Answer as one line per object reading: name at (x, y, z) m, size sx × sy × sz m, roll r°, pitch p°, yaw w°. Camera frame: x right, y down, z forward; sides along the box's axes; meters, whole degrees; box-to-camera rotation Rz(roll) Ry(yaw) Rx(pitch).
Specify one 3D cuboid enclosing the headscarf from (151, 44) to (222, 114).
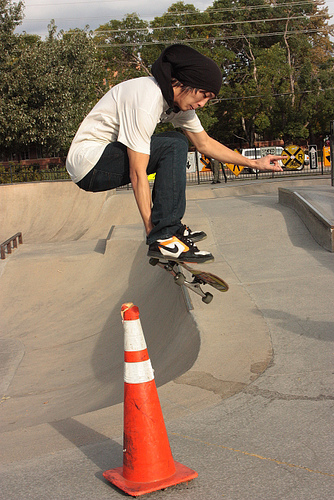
headscarf at (0.136, -1.017, 2.566) m, size 0.405 × 0.345 × 0.272 m, roll 21°, pitch 38°, yaw 4°

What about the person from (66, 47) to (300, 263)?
person at (0.106, -0.591, 2.728) m, size 1.417 × 1.231 × 0.608 m, roll 1°, pitch 17°, yaw -10°
